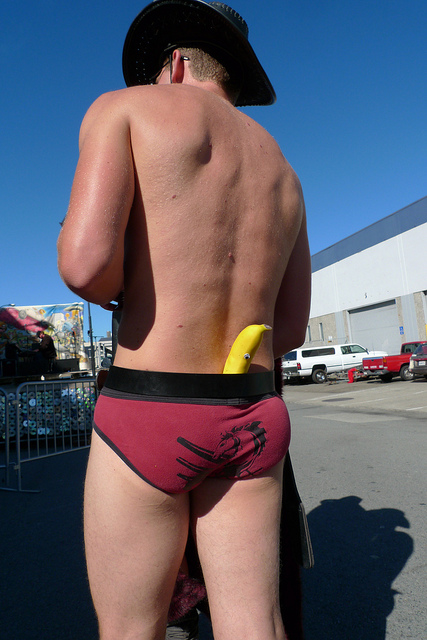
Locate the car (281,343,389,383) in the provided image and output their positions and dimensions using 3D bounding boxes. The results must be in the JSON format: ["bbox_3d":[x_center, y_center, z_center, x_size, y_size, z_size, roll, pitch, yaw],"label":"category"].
[{"bbox_3d":[4.780,1.751,18.948,4.158,1.378,1.847,-14,2,-20],"label":"car"}]

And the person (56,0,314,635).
[{"bbox_3d":[-0.007,0.045,1.141,0.665,1.215,0.311,-2,-6,-41],"label":"person"}]

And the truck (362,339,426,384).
[{"bbox_3d":[7.088,1.634,18.242,2.551,1.088,1.150,-5,0,-24],"label":"truck"}]

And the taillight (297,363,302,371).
[{"bbox_3d":[3.641,1.939,20.263,0.160,0.225,0.071,5,-1,-19],"label":"taillight"}]

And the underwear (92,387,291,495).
[{"bbox_3d":[-0.050,0.284,1.145,0.490,0.212,0.340,3,-19,-26],"label":"underwear"}]

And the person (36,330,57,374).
[{"bbox_3d":[-4.500,0.958,13.277,0.471,1.005,0.687,-3,-5,-30],"label":"person"}]
